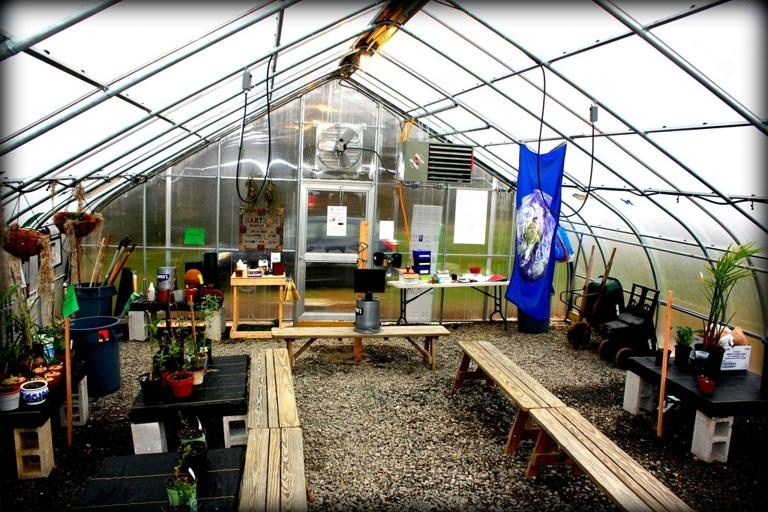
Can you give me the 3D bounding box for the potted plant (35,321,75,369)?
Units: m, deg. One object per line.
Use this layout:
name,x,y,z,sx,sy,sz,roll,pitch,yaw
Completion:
potted plant,-4.016,1.064,6.748,0.496,0.390,0.528,1,-3,-6

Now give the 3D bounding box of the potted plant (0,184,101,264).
potted plant,-4.016,-0.298,6.767,0.898,0.604,0.563,-4,14,-22

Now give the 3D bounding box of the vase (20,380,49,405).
vase,-3.690,1.434,5.872,0.248,0.181,0.239,-3,-2,22

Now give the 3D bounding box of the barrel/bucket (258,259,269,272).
barrel/bucket,-2.152,0.171,9.935,0.178,0.227,0.230,0,-4,-12

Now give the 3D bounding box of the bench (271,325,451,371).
bench,-0.478,1.360,9.210,2.739,0.679,2.190,0,3,-8

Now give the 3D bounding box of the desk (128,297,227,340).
desk,-3.202,0.947,8.538,0.915,0.571,0.487,1,0,-14

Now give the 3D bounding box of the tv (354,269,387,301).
tv,-0.215,0.417,8.524,0.624,0.614,0.181,0,7,-7

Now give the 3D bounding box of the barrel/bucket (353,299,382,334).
barrel/bucket,-0.237,0.883,8.229,0.468,0.445,0.412,2,6,25

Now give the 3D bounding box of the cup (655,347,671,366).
cup,3.679,1.309,7.261,0.264,0.205,0.281,0,0,0

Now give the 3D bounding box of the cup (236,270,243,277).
cup,-2.514,0.293,9.661,0.137,0.127,0.093,1,10,-3

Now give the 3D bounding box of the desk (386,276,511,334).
desk,1.304,0.850,10.518,2.317,0.999,1.633,0,3,-1

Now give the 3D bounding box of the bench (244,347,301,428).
bench,-1.234,1.536,6.241,0.591,0.447,1.978,0,9,-9

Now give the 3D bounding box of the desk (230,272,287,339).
desk,-2.209,0.847,9.888,1.030,1.099,1.008,-1,3,-14

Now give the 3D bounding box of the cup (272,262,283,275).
cup,-1.866,0.222,9.812,0.192,0.244,0.254,2,2,-12

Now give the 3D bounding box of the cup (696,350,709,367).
cup,3.926,1.260,6.841,0.163,0.128,0.164,1,-1,0

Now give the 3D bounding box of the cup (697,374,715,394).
cup,3.820,1.504,6.577,0.196,0.139,0.194,0,4,0

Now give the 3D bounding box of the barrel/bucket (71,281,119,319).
barrel/bucket,-4.600,0.699,8.901,0.619,0.580,0.613,0,-2,0
